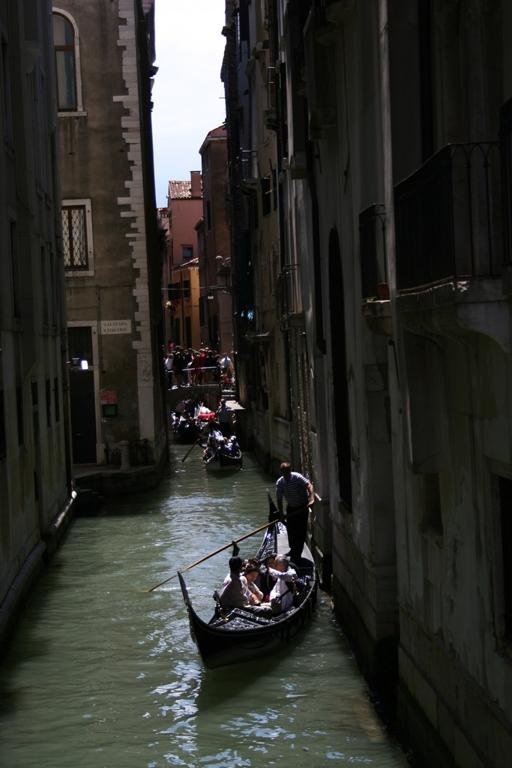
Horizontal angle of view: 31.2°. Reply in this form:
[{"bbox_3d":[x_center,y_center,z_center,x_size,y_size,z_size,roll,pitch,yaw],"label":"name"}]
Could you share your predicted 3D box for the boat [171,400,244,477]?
[{"bbox_3d":[-1.854,2.299,38.001,1.469,3.102,6.392,-6,-1,-5],"label":"boat"}]
